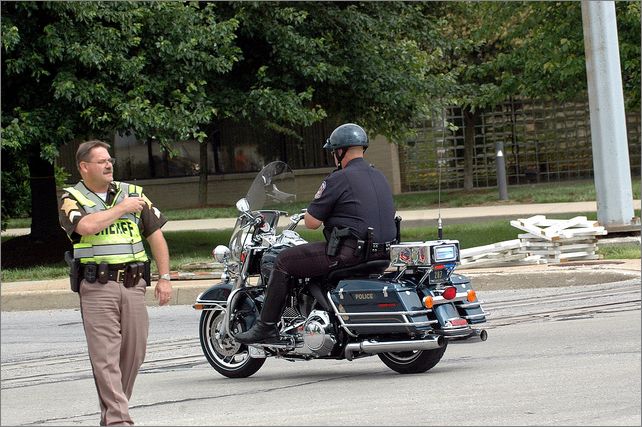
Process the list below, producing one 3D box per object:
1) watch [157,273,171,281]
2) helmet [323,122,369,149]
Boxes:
[{"bbox_3d":[-1.868,0.777,11.986,0.114,0.066,0.114,-1,-13,-2],"label":"watch"},{"bbox_3d":[0.332,-1.047,13.346,0.493,0.236,0.352,9,9,40],"label":"helmet"}]
